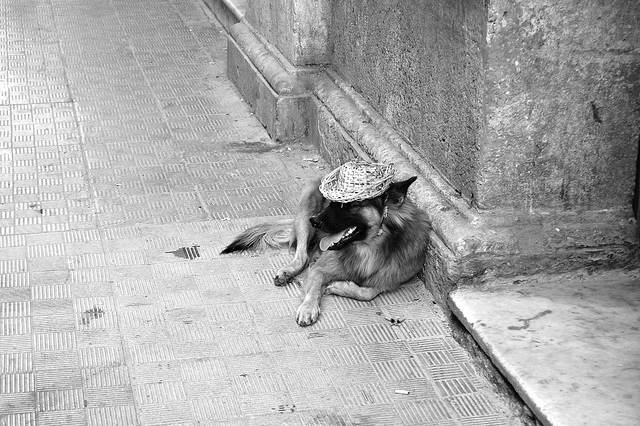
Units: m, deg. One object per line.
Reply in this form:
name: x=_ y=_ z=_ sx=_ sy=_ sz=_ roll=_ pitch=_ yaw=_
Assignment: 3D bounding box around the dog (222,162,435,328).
dog: x=0.068 y=0.016 z=4.992 sx=1.734 sy=0.944 sz=1.675 roll=-7 pitch=20 yaw=-19
